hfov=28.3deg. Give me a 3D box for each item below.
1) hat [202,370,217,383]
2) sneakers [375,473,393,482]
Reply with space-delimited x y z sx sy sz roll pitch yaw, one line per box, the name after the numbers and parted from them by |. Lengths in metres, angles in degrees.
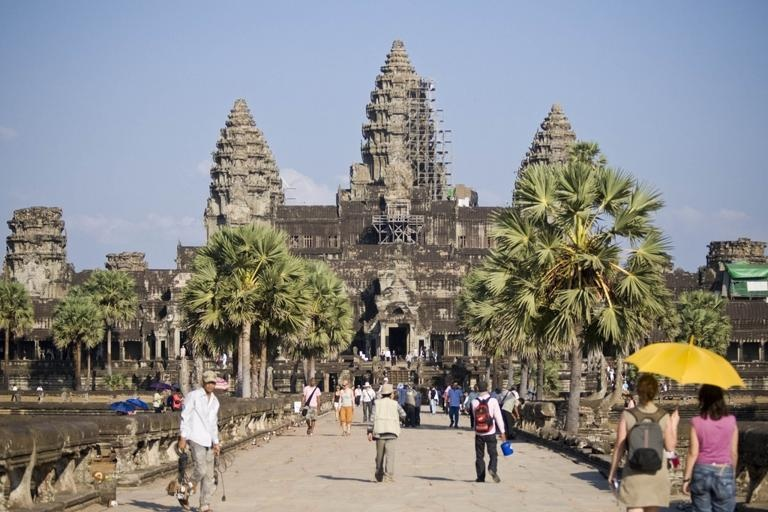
-4.978 3.449 43.723 0.390 0.366 0.352 2 -5 -9 | hat
0.023 7.066 48.572 0.529 0.238 0.262 1 -5 2 | sneakers
